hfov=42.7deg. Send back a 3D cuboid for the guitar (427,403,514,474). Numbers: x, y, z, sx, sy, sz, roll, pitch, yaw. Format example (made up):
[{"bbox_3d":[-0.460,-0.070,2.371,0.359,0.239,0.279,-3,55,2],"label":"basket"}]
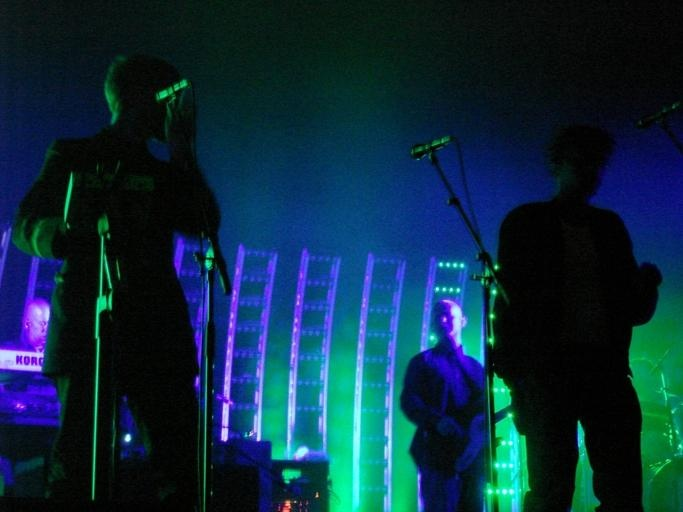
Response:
[{"bbox_3d":[1.214,1.765,8.510,0.196,0.294,1.211,-7,-6,37],"label":"guitar"}]

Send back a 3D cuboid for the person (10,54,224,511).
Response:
[{"bbox_3d":[-1.616,0.063,6.376,1.370,3.287,0.714,3,-20,-11],"label":"person"}]
